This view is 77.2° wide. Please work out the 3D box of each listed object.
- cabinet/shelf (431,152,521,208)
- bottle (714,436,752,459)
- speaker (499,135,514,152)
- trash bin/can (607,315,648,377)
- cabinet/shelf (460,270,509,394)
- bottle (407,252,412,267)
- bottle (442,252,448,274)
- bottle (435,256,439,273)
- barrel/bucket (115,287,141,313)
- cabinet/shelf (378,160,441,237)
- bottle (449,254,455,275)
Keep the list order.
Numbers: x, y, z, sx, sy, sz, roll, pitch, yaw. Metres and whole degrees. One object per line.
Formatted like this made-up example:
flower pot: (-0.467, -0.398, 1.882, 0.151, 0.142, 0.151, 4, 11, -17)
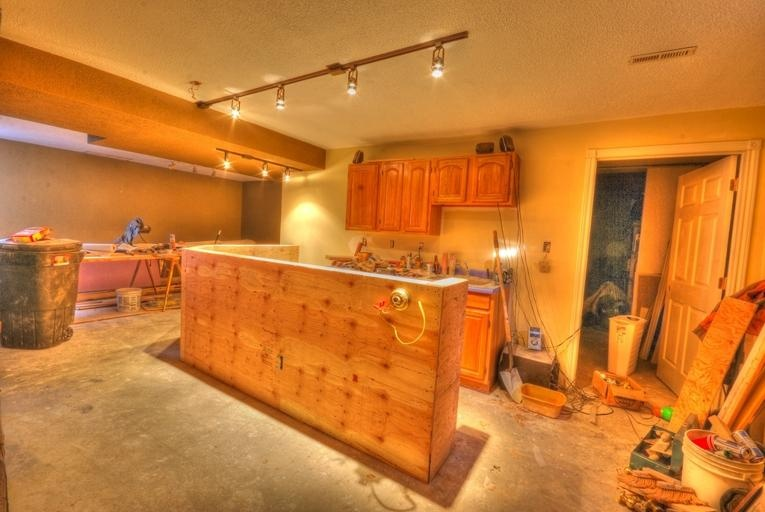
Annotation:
cabinet/shelf: (1.088, -0.943, 5.909, 1.021, 0.617, 0.194, 5, 6, 37)
bottle: (3.052, 1.680, 4.175, 0.145, 0.077, 0.202, 35, -10, -35)
speaker: (1.480, -1.351, 5.826, 0.236, 0.206, 0.080, 2, -8, -35)
trash bin/can: (2.981, 1.139, 5.971, 0.365, 0.723, 0.668, 6, 6, 35)
cabinet/shelf: (1.201, 0.941, 5.688, 0.423, 1.214, 0.506, 4, 5, 17)
bottle: (0.384, 0.053, 6.631, 0.073, 0.198, 0.178, 2, 4, 1)
bottle: (0.824, 0.093, 6.262, 0.073, 0.263, 0.142, 2, 5, 2)
bottle: (0.709, 0.109, 6.380, 0.089, 0.195, 0.068, -4, -5, -3)
barrel/bucket: (-3.844, 0.661, 7.276, 0.324, 0.314, 0.399, 0, 5, -28)
cabinet/shelf: (0.390, -0.781, 6.314, 1.068, 1.085, 0.607, 4, 5, 31)
bottle: (0.920, 0.110, 6.307, 0.088, 0.249, 0.147, 3, 5, 7)
